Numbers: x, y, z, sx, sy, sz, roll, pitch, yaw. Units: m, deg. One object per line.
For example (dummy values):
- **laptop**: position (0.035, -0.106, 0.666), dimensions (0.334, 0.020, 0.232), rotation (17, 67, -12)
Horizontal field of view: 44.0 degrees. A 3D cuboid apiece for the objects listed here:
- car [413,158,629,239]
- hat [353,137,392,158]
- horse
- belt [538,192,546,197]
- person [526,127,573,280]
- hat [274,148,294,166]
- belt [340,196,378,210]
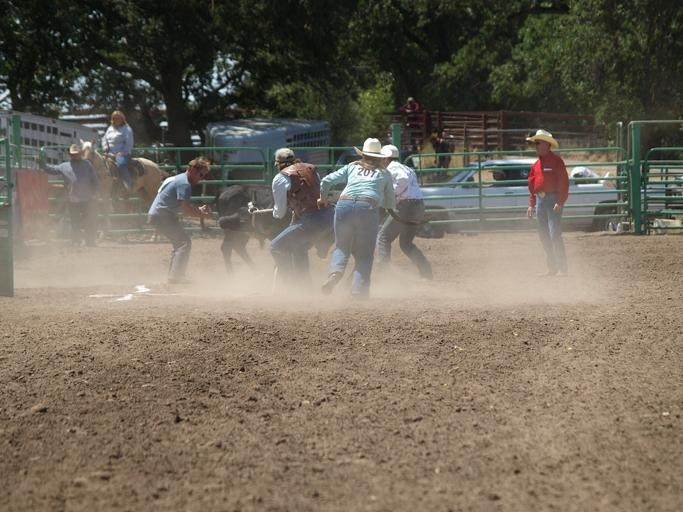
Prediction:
- **car**: position (3.382, -1.066, 16.012), dimensions (3.632, 1.251, 1.614), rotation (0, 3, -6)
- **hat**: position (0.354, -1.228, 9.904), dimensions (0.311, 0.147, 0.374), rotation (4, 5, -7)
- **horse**: position (-4.066, -1.156, 15.645), dimensions (0.698, 1.898, 1.928), rotation (3, 9, 28)
- **belt**: position (2.599, -0.795, 10.995), dimensions (0.068, 0.071, 0.019), rotation (13, 3, 13)
- **person**: position (2.728, -0.703, 11.184), dimensions (0.504, 1.867, 0.686), rotation (0, 8, 12)
- **hat**: position (-0.655, -1.164, 10.000), dimensions (0.230, 0.188, 0.327), rotation (-2, 9, -4)
- **belt**: position (0.192, -0.607, 9.593), dimensions (0.423, 0.143, 0.140), rotation (-2, 8, -3)
